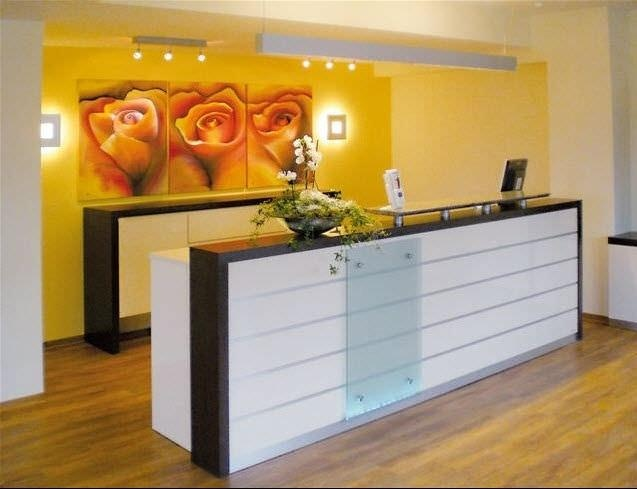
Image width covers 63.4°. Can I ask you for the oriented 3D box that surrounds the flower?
[{"bbox_3d":[-0.028,-0.348,3.694,0.773,0.659,0.808,-1,13,8],"label":"flower"}]

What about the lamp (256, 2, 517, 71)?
[{"bbox_3d":[0.631,-1.516,4.142,2.547,0.212,0.175,-7,13,-34],"label":"lamp"}]

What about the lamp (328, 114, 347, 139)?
[{"bbox_3d":[0.250,-1.664,7.399,0.081,0.335,0.355,3,5,44],"label":"lamp"}]

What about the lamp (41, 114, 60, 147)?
[{"bbox_3d":[-2.657,-1.128,5.116,0.193,0.333,0.056,-7,12,-31],"label":"lamp"}]

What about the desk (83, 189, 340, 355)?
[{"bbox_3d":[-0.957,0.246,4.045,1.750,0.817,0.337,-4,5,-44],"label":"desk"}]

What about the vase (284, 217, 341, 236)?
[{"bbox_3d":[-0.053,-0.120,3.467,0.358,0.122,0.123,0,11,1],"label":"vase"}]
